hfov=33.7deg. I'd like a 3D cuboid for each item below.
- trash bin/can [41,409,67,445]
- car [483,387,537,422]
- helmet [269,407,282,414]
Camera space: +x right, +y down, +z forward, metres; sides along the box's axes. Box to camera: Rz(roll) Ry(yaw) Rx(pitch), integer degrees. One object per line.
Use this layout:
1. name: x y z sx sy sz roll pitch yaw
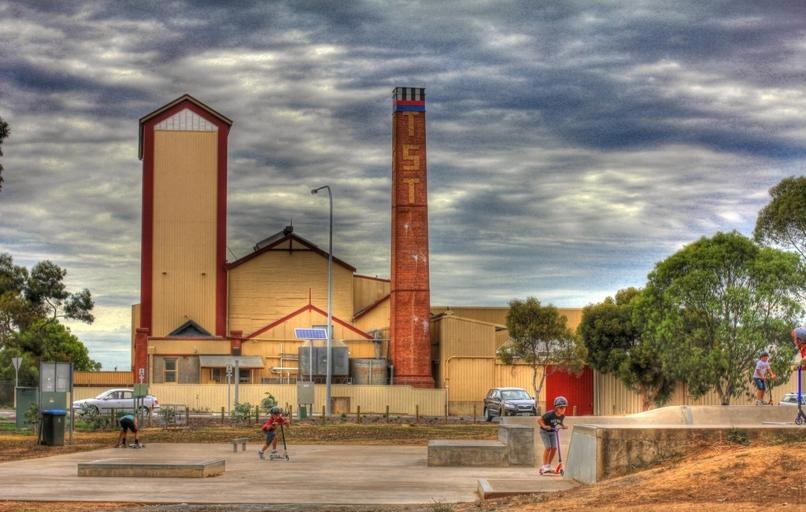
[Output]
1. trash bin/can: -18.300 8.897 69.372 1.377 1.903 0.763 0 -9 -4
2. car: 6.844 9.384 86.171 2.813 2.226 6.703 -1 -9 -1
3. helmet: -6.238 7.458 64.506 0.545 0.234 0.390 12 12 7
